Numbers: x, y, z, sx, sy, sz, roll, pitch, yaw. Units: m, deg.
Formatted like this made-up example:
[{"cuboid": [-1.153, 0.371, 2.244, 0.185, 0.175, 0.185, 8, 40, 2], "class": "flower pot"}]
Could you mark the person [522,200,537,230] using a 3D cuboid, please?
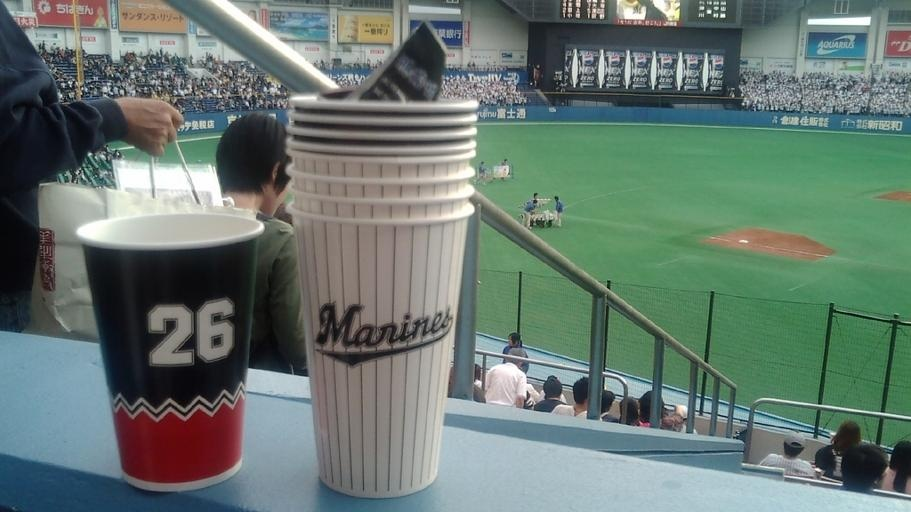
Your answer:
[{"cuboid": [1.943, -1.113, 22.788, 0.320, 0.649, 0.916, 4, 15, 3], "class": "person"}]

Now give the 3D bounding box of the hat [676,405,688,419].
[{"cuboid": [3.870, 2.648, 14.977, 0.278, 0.197, 0.280, -2, 6, -1], "class": "hat"}]
